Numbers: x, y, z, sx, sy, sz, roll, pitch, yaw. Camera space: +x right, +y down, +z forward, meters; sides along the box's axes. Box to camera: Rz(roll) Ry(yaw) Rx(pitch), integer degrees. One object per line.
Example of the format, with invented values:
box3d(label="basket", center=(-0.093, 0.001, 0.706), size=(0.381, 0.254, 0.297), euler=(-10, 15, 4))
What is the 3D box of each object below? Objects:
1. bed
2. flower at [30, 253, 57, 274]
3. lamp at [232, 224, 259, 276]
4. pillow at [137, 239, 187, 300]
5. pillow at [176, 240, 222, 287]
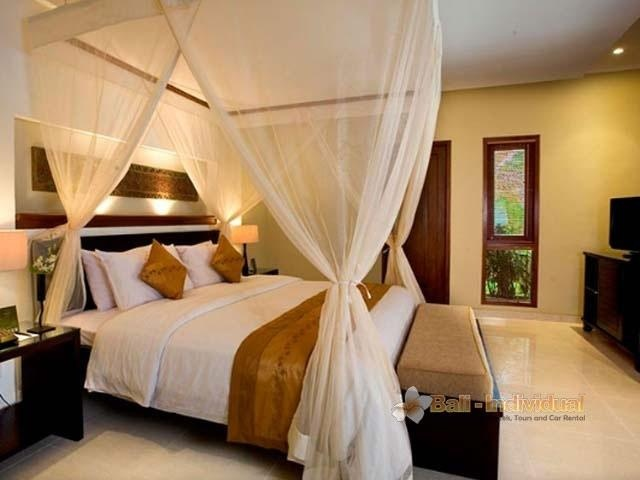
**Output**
box3d(label="bed", center=(-0.305, 0.435, 4.137), size=(2.302, 1.624, 2.508), euler=(-1, 4, 12))
box3d(label="flower", center=(-2.074, 0.186, 3.420), size=(0.153, 0.129, 0.177), euler=(3, 13, -8))
box3d(label="lamp", center=(-0.941, 0.115, 5.658), size=(0.346, 0.624, 0.367), euler=(3, 8, 31))
box3d(label="pillow", center=(-1.463, 0.271, 3.975), size=(0.462, 0.125, 0.498), euler=(34, 42, 23))
box3d(label="pillow", center=(-1.200, 0.236, 4.489), size=(0.114, 0.398, 0.401), euler=(-21, 6, 25))
